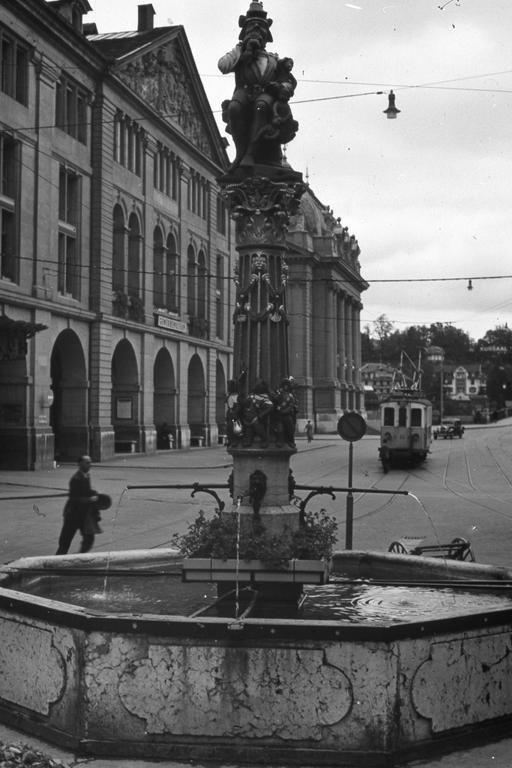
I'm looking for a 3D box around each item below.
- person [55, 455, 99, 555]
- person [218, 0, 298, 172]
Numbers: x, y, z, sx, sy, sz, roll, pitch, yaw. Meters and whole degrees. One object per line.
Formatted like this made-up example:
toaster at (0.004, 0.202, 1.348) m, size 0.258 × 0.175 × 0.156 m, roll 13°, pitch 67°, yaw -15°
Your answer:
person at (-1.983, 1.386, 17.838) m, size 0.438 × 1.093 × 1.391 m, roll 0°, pitch -1°, yaw -7°
person at (0.014, -2.679, 14.239) m, size 0.686 × 1.539 × 0.382 m, roll 0°, pitch -1°, yaw -1°
